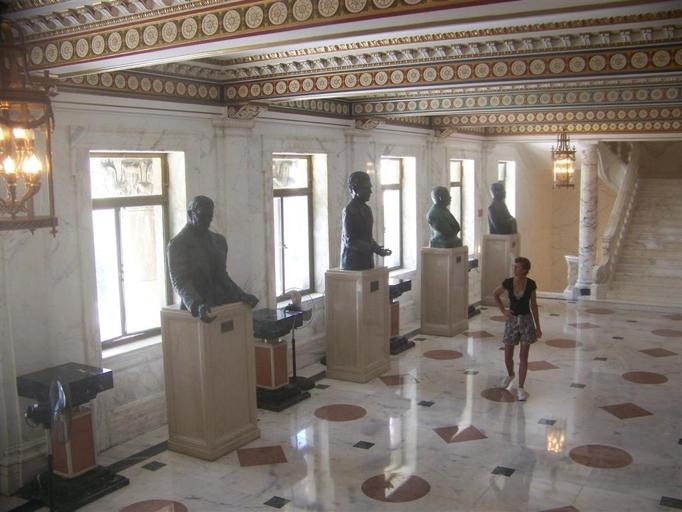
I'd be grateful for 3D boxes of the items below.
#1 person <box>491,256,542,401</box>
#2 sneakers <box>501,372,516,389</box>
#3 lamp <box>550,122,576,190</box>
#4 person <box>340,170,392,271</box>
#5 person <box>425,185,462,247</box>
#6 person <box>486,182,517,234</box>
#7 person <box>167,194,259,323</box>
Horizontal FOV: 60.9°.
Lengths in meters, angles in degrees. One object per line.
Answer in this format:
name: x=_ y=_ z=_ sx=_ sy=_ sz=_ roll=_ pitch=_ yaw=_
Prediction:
person: x=2.400 y=0.868 z=7.960 sx=0.580 sy=1.928 sz=1.479 roll=1 pitch=9 yaw=15
sneakers: x=2.304 y=1.713 z=7.951 sx=0.121 sy=0.155 sz=0.365 roll=1 pitch=5 yaw=28
lamp: x=5.210 y=-2.333 z=13.697 sx=0.478 sy=1.368 sz=1.701 roll=2 pitch=9 yaw=20
person: x=0.294 y=-0.497 z=8.293 sx=0.629 sy=1.410 sz=0.396 roll=-1 pitch=9 yaw=3
person: x=1.875 y=-0.715 z=10.565 sx=0.605 sy=1.105 sz=0.548 roll=0 pitch=9 yaw=10
person: x=3.541 y=-1.045 z=12.668 sx=0.668 sy=1.120 sz=0.638 roll=-1 pitch=9 yaw=0
person: x=-1.404 y=-0.018 z=6.281 sx=0.527 sy=1.252 sz=0.783 roll=6 pitch=12 yaw=41
